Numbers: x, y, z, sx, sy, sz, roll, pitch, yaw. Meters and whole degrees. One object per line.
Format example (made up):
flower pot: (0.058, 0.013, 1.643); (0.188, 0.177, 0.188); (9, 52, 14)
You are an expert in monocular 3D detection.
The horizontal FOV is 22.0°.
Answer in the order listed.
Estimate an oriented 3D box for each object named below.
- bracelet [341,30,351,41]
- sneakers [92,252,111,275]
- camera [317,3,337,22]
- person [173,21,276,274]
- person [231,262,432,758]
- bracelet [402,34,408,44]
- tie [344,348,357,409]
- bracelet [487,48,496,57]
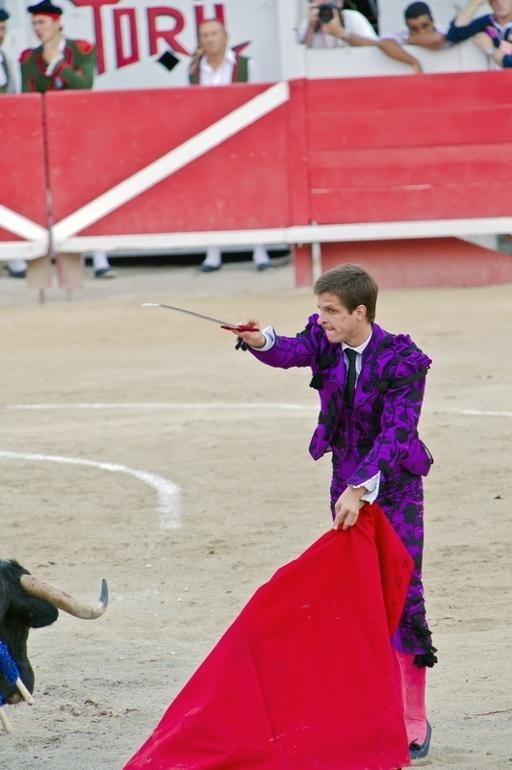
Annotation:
bracelet: (0.559, -2.153, 8.213); (0.064, 0.057, 0.017); (7, 1, 0)
sneakers: (-1.106, -0.853, 9.266); (0.120, 0.127, 0.086); (-17, 4, -27)
camera: (0.441, -2.272, 8.149); (0.129, 0.107, 0.182); (5, 18, 2)
person: (-0.183, -1.535, 8.771); (0.498, 1.640, 0.780); (-1, 14, 2)
person: (0.283, 0.304, 3.457); (0.439, 1.237, 0.563); (-11, 17, -33)
bracelet: (0.939, -2.161, 8.316); (0.045, 0.055, 0.015); (2, -18, 14)
tie: (0.246, -0.021, 3.360); (0.028, 0.143, 0.038); (0, -4, 4)
bracelet: (1.482, -2.044, 8.243); (0.042, 0.056, 0.016); (-7, 39, 43)
